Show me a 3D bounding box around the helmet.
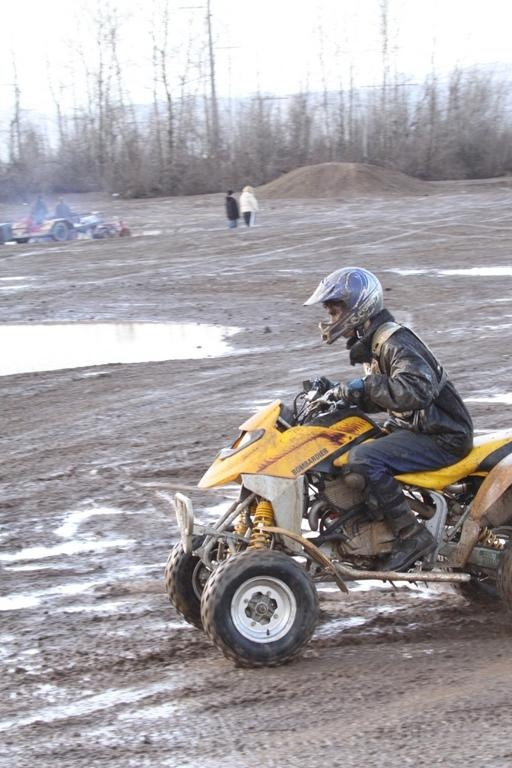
[{"bbox_3d":[0.410,-0.359,3.453,0.397,0.326,0.281,-4,8,-3],"label":"helmet"}]
